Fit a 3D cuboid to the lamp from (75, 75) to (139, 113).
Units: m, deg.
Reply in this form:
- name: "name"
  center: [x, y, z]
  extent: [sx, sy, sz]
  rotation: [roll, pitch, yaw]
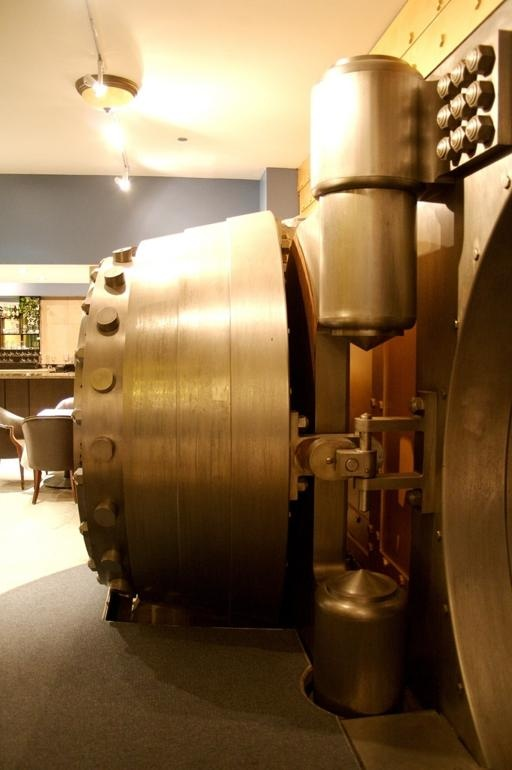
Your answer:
- name: "lamp"
  center: [-1.167, -2.267, 4.728]
  extent: [0.322, 0.165, 0.355]
  rotation: [-1, -10, -2]
